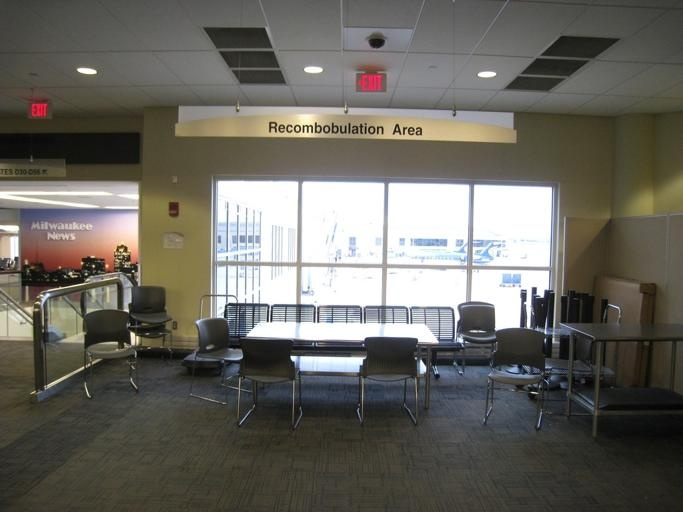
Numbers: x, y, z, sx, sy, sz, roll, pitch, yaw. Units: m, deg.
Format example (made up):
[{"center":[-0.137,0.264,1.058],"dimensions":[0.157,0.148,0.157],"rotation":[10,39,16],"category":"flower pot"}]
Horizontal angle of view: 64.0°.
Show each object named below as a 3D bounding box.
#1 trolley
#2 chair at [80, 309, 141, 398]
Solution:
[{"center":[3.325,1.342,7.786],"dimensions":[1.471,1.771,1.314],"rotation":[0,2,2],"category":"trolley"},{"center":[-3.305,1.291,7.719],"dimensions":[0.738,1.152,1.335],"rotation":[-6,16,-22],"category":"chair"}]
